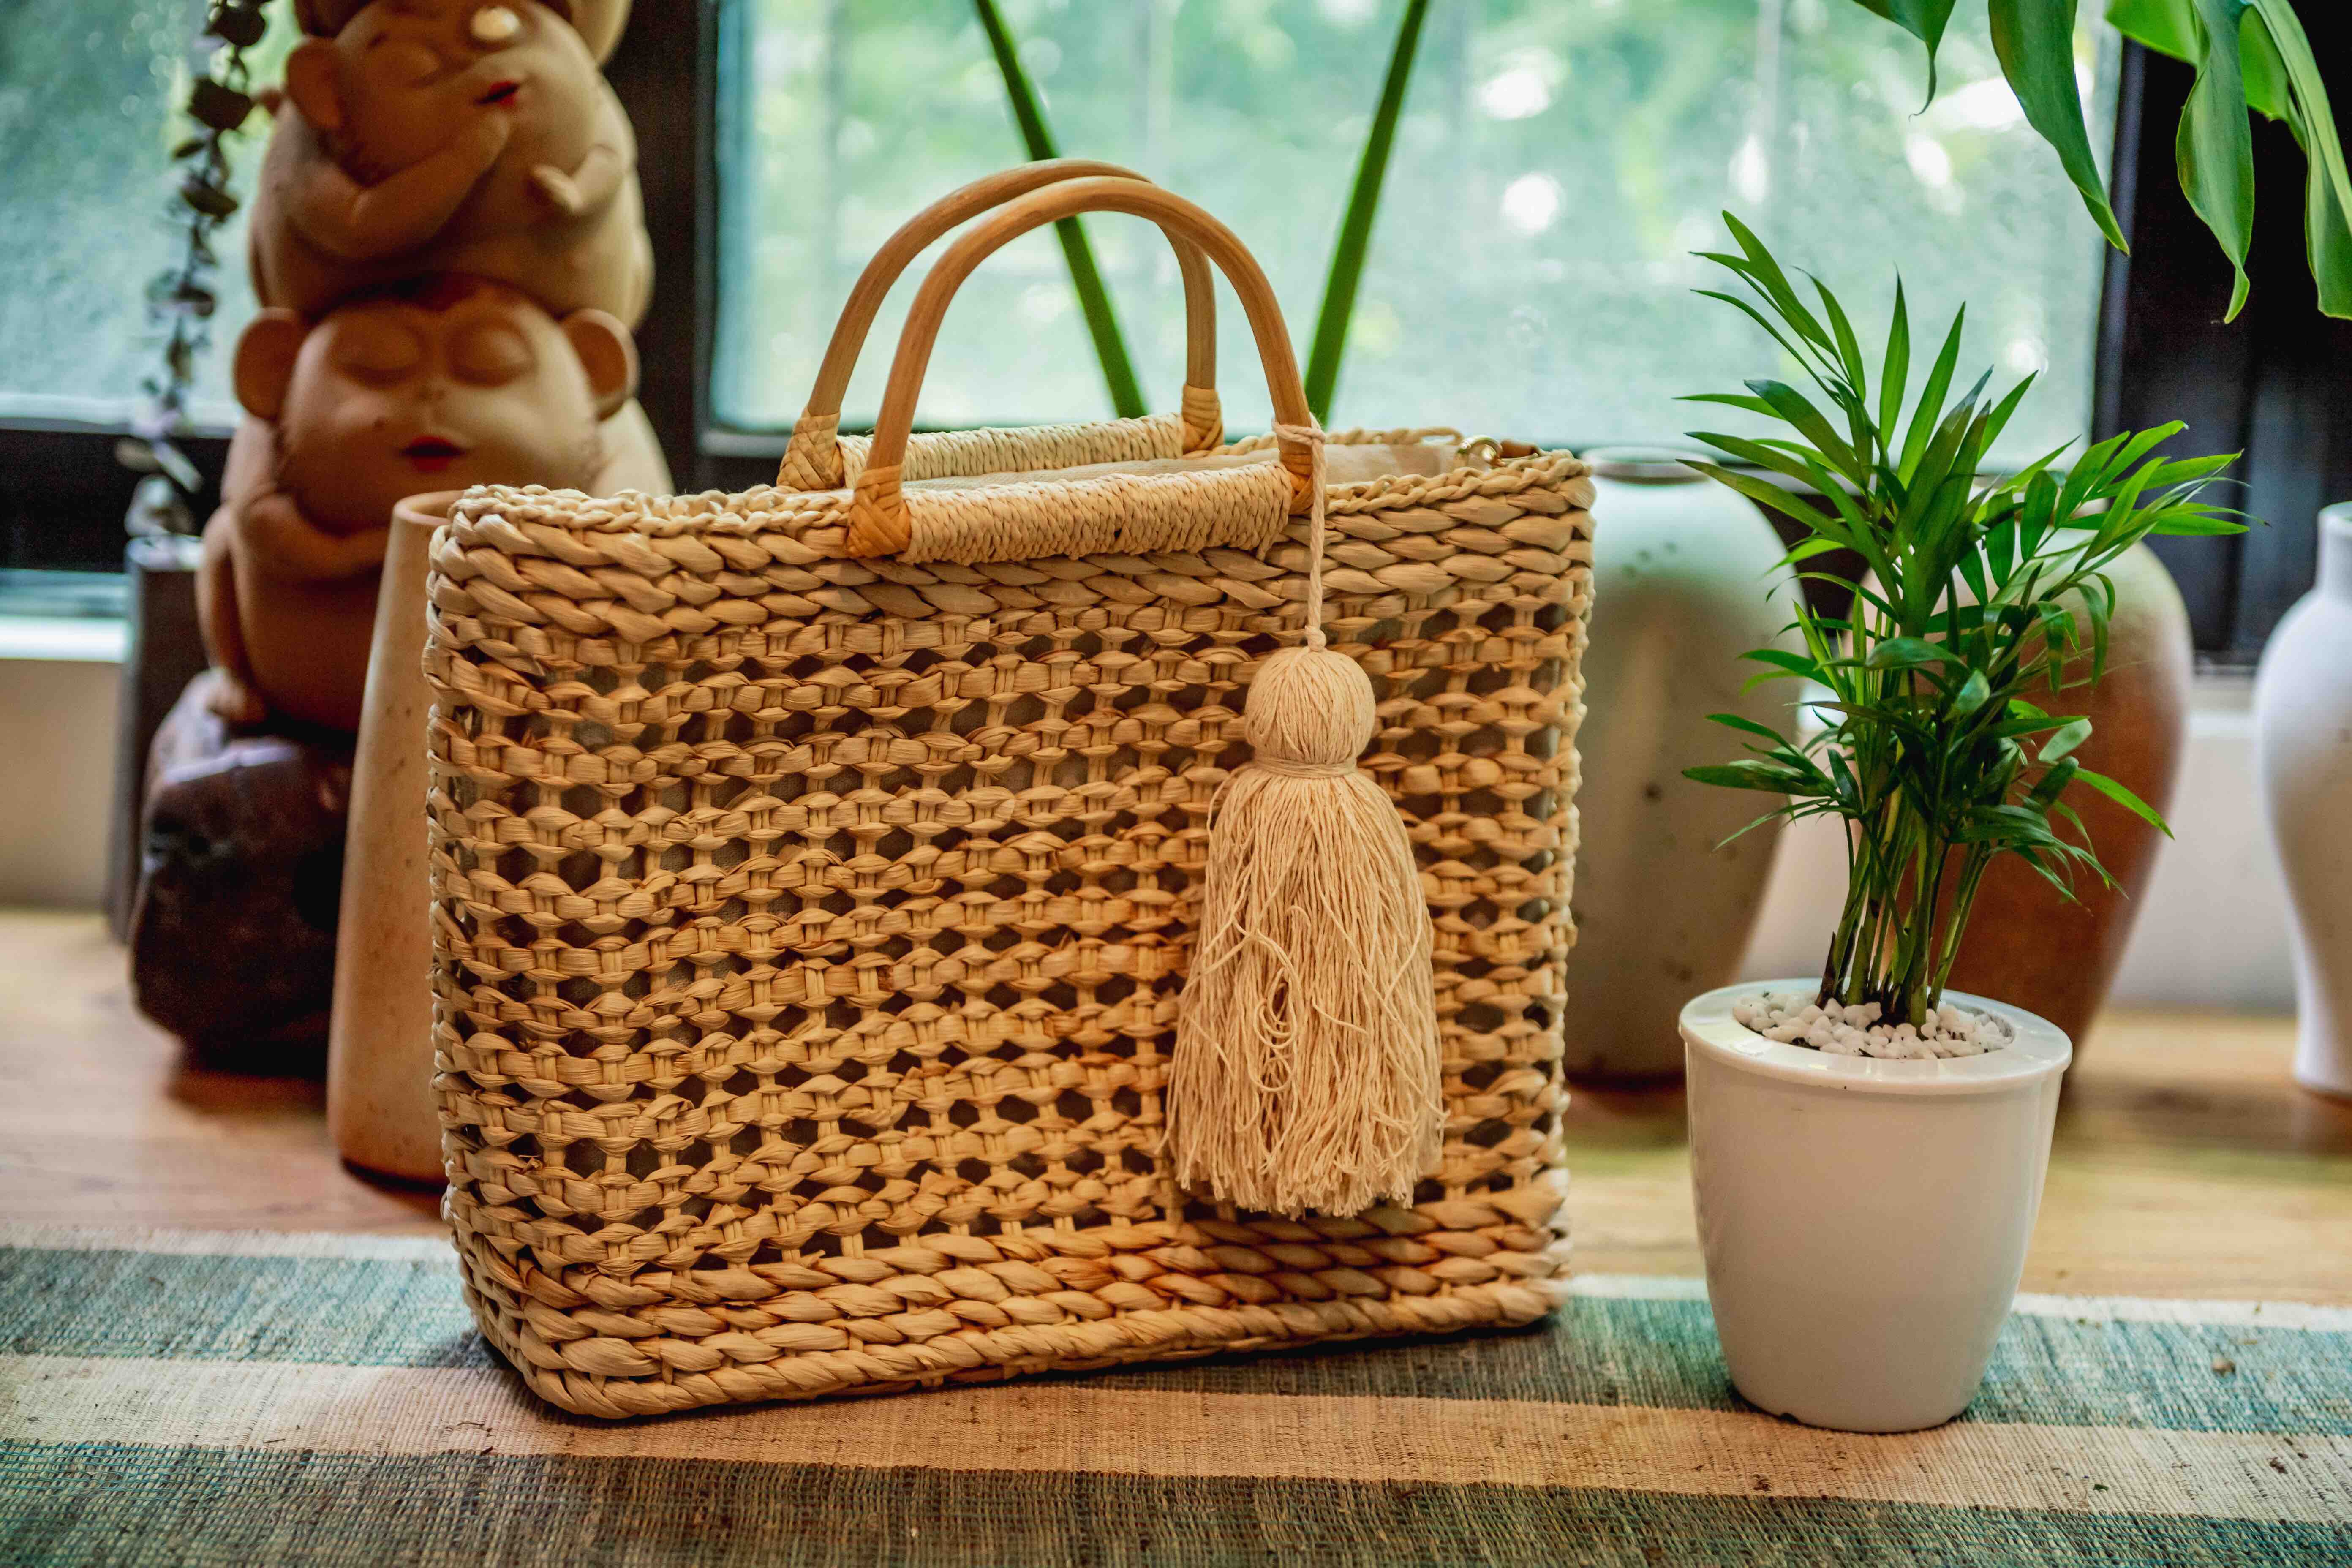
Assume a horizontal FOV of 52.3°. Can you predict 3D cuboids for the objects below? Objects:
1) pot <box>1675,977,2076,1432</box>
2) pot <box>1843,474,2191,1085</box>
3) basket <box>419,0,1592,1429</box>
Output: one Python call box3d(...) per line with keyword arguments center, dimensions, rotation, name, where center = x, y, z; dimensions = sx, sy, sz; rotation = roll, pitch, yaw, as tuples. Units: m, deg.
box3d(center=(0.392, 0.251, 1.464), dimensions=(0.250, 0.200, 0.231), rotation=(1, 9, 0), name="pot")
box3d(center=(0.636, 0.019, 1.702), dimensions=(0.142, 0.371, 0.105), rotation=(-7, 12, -34), name="pot")
box3d(center=(-0.121, 0.013, 1.518), dimensions=(0.749, 0.662, 0.283), rotation=(-4, 12, -33), name="basket")
